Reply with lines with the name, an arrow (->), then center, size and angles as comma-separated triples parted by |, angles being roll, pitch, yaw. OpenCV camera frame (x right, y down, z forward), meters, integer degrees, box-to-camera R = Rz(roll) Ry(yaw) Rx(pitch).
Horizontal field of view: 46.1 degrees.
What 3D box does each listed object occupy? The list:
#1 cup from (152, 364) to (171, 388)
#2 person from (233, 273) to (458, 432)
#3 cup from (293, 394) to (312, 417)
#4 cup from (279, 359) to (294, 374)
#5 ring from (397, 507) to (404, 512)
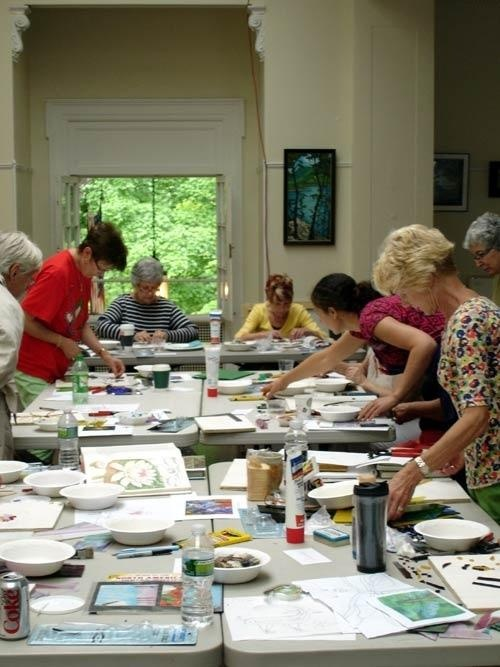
cup -> -0.483, 0.250, 3.337 | 0.136, 0.128, 0.124 | 0, -2, 0
person -> 0.525, 0.056, 3.084 | 1.121, 0.888, 0.547 | -11, 9, 11
cup -> 0.235, 0.320, 2.584 | 0.088, 0.089, 0.096 | 0, -3, 0
cup -> 0.241, 0.210, 3.871 | 0.088, 0.079, 0.086 | 1, -4, 0
ring -> 0.366, 0.428, 1.430 | 0.010, 0.011, 0.003 | -2, -25, 10
